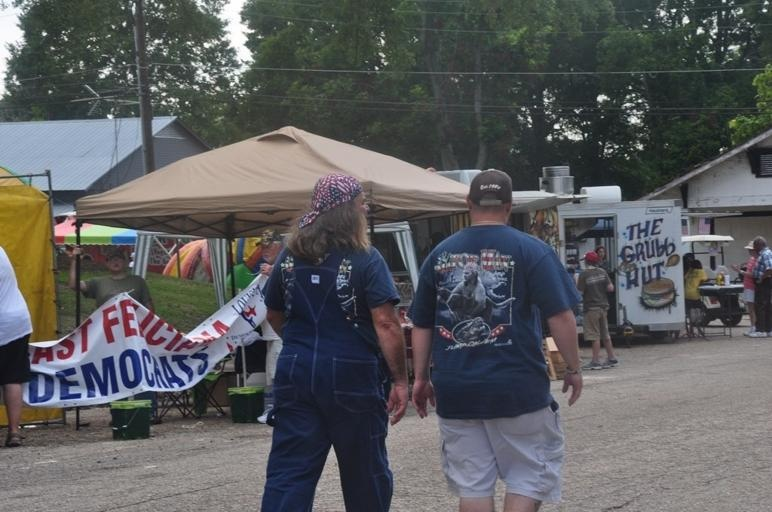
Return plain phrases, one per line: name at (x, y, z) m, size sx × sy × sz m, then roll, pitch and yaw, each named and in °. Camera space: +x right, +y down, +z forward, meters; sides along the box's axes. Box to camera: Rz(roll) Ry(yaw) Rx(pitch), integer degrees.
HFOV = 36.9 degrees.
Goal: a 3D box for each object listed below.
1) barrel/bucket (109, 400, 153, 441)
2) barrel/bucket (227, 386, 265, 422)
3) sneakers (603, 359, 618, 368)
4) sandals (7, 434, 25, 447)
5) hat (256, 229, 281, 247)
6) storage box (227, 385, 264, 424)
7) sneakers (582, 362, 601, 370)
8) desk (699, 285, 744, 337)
barrel/bucket at (-4.732, 2.955, 21.321) m, size 0.679 × 0.690 × 0.891 m, roll -4°, pitch -6°, yaw 35°
barrel/bucket at (-2.702, 2.850, 22.230) m, size 0.720 × 0.486 × 0.672 m, roll 0°, pitch -8°, yaw 0°
sneakers at (5.069, 2.437, 26.352) m, size 0.403 × 0.160 × 0.135 m, roll 0°, pitch 2°, yaw 12°
sandals at (-6.601, 3.269, 20.608) m, size 0.234 × 0.181 × 0.556 m, roll 0°, pitch -5°, yaw -13°
hat at (-2.250, -0.331, 22.500) m, size 0.391 × 0.171 × 0.469 m, roll -2°, pitch 4°, yaw -8°
storage box at (-2.706, 2.848, 22.476) m, size 0.844 × 0.531 × 0.749 m, roll -3°, pitch -5°, yaw -5°
sneakers at (4.652, 2.480, 26.168) m, size 0.473 × 0.174 × 0.169 m, roll 2°, pitch 2°, yaw -1°
desk at (9.712, 1.554, 32.912) m, size 0.961 × 0.653 × 0.847 m, roll 27°, pitch -21°, yaw -39°
